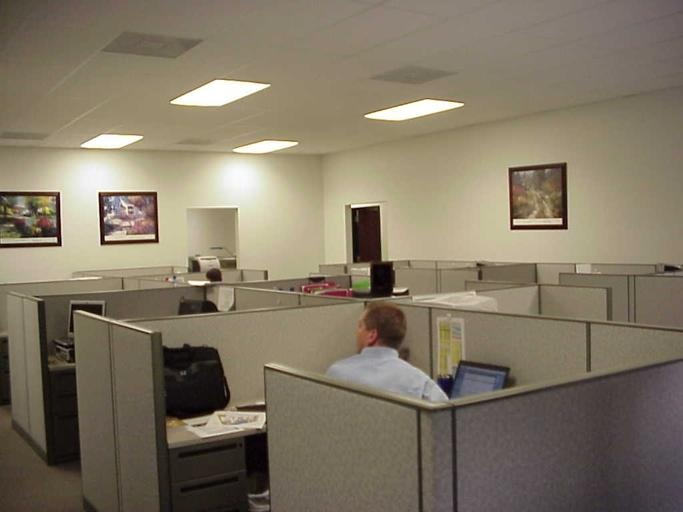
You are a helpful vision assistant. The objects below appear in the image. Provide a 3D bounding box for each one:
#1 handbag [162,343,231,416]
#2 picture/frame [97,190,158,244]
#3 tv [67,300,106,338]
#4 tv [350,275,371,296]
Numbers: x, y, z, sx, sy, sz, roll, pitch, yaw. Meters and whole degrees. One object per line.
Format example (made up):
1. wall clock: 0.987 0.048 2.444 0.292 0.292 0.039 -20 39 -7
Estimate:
1. handbag: -0.875 0.712 3.147 0.418 0.447 0.245 -3 17 2
2. picture/frame: -4.273 -0.769 10.409 0.979 1.082 0.065 -1 1 -29
3. tv: -2.311 0.558 4.780 0.427 0.308 0.159 -2 4 20
4. tv: 0.181 0.282 5.046 0.123 0.178 0.239 -1 2 -13
